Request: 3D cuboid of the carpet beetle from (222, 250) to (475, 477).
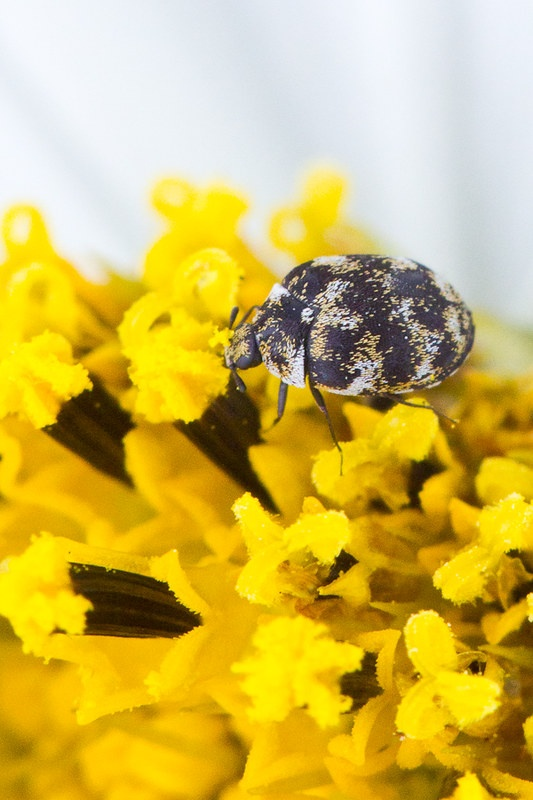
[{"bbox_3d":[0.124,-0.106,1.381,0.338,0.304,0.176,19,-4,31],"label":"carpet beetle"}]
